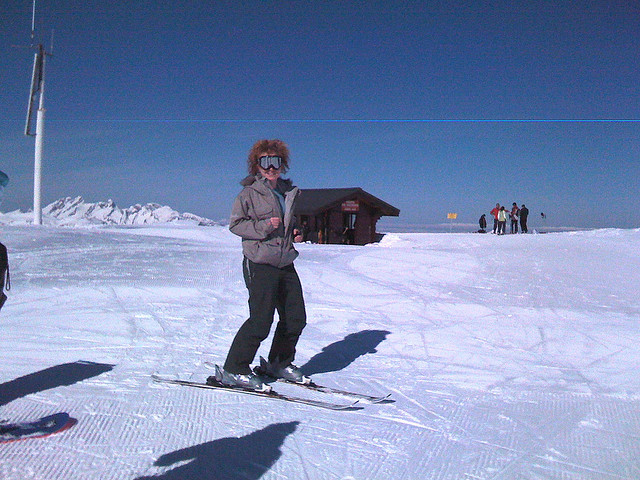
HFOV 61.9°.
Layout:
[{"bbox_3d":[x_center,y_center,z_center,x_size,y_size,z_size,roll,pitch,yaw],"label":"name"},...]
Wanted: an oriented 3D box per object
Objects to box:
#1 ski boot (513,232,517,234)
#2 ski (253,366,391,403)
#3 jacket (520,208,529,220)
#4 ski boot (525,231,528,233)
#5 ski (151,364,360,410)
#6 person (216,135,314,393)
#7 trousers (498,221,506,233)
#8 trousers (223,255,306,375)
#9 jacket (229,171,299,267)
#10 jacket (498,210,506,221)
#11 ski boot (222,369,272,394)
[{"bbox_3d":[9.355,-0.333,25.441,0.169,0.089,0.162,11,28,27],"label":"ski boot"},{"bbox_3d":[-0.001,1.363,4.987,1.358,0.098,0.147,6,2,19],"label":"ski"},{"bbox_3d":[9.191,-1.157,23.958,0.231,0.506,0.978,4,8,12],"label":"jacket"},{"bbox_3d":[9.372,-0.363,24.207,0.136,0.121,0.125,0,-6,-15],"label":"ski boot"},{"bbox_3d":[-0.805,1.251,4.854,1.877,0.237,0.200,2,-9,18],"label":"ski"},{"bbox_3d":[-0.482,0.236,4.827,0.846,2.254,0.581,0,9,-15],"label":"person"},{"bbox_3d":[8.157,-0.583,23.724,0.263,0.526,0.672,8,10,36],"label":"trousers"},{"bbox_3d":[-0.518,0.681,4.851,0.683,1.068,0.357,-3,10,-32],"label":"trousers"},{"bbox_3d":[-0.471,-0.171,4.844,0.438,0.795,0.561,10,11,41],"label":"jacket"},{"bbox_3d":[7.962,-1.071,23.391,0.420,0.536,0.455,0,-1,3],"label":"jacket"},{"bbox_3d":[-0.650,1.253,4.820,0.489,0.187,0.167,8,-1,2],"label":"ski boot"}]
